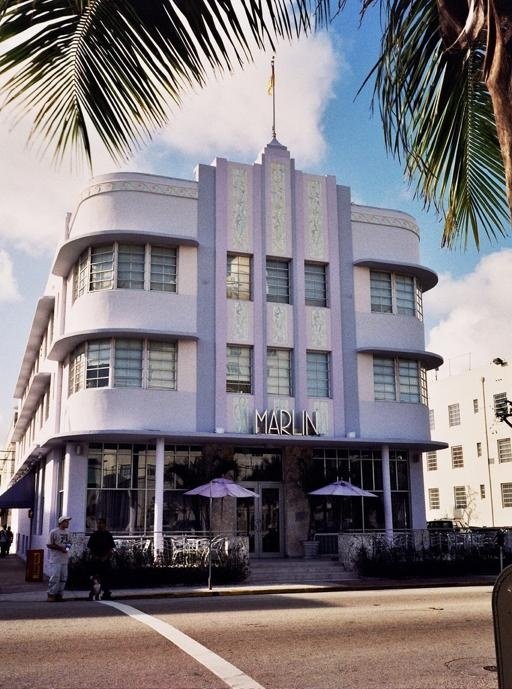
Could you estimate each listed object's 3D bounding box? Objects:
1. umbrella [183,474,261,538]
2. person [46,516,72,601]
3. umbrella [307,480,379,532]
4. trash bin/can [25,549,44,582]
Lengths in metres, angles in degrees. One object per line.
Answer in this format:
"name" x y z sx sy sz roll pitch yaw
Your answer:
"umbrella" -1.352 5.698 23.150 2.135 1.750 3.347 1 -17 -6
"person" -4.865 5.250 15.852 0.514 1.959 0.982 4 -17 -17
"umbrella" 3.401 5.833 24.904 2.267 1.735 2.450 2 -12 -15
"trash bin/can" -7.874 7.908 23.101 0.571 1.096 1.089 4 -17 -17
